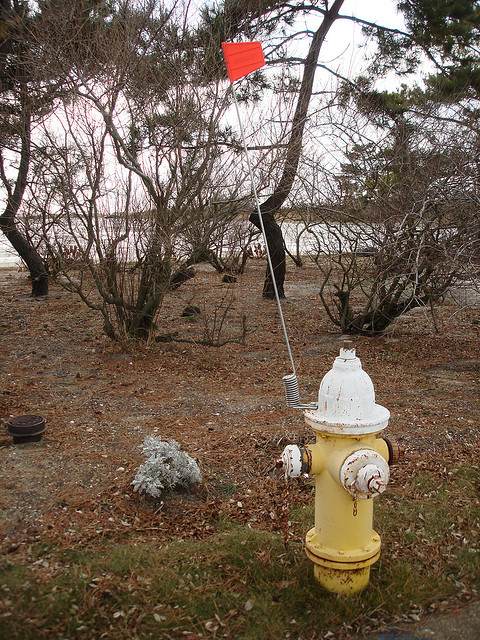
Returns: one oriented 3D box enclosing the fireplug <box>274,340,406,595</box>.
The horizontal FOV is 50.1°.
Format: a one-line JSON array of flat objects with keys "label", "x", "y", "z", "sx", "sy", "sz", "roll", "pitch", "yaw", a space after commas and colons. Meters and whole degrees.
[{"label": "fireplug", "x": 0.436, "y": 0.711, "z": 2.613, "sx": 0.653, "sy": 1.137, "sz": 0.699, "roll": 0, "pitch": 11, "yaw": 15}]
